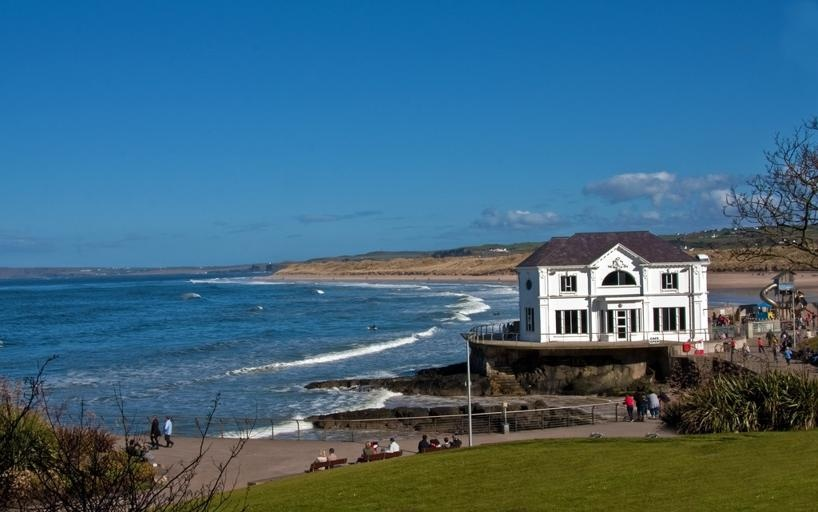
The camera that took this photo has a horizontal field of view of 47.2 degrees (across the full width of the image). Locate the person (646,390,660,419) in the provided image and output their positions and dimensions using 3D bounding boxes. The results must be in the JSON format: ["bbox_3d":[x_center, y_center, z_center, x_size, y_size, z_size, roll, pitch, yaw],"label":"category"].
[{"bbox_3d":[14.956,9.089,57.118,0.675,1.447,0.896,-3,-6,6],"label":"person"}]

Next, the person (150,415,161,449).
[{"bbox_3d":[-15.093,10.413,55.734,0.418,2.003,1.047,-2,-6,-7],"label":"person"}]
